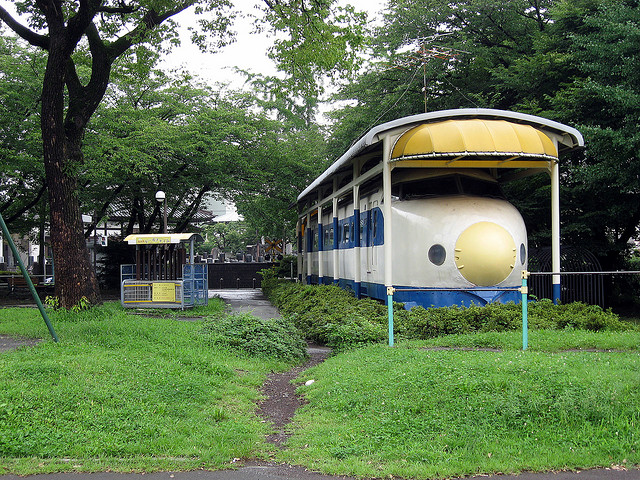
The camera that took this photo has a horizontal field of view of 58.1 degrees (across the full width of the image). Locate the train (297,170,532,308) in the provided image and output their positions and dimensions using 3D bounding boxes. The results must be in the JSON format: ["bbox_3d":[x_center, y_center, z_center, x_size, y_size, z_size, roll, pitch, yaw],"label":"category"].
[{"bbox_3d":[2.623,0.382,22.767,3.894,4.119,16.426,3,-3,-11],"label":"train"}]

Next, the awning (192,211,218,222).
[{"bbox_3d":[-8.098,-1.544,40.897,1.301,0.726,3.908,8,3,-7],"label":"awning"}]
